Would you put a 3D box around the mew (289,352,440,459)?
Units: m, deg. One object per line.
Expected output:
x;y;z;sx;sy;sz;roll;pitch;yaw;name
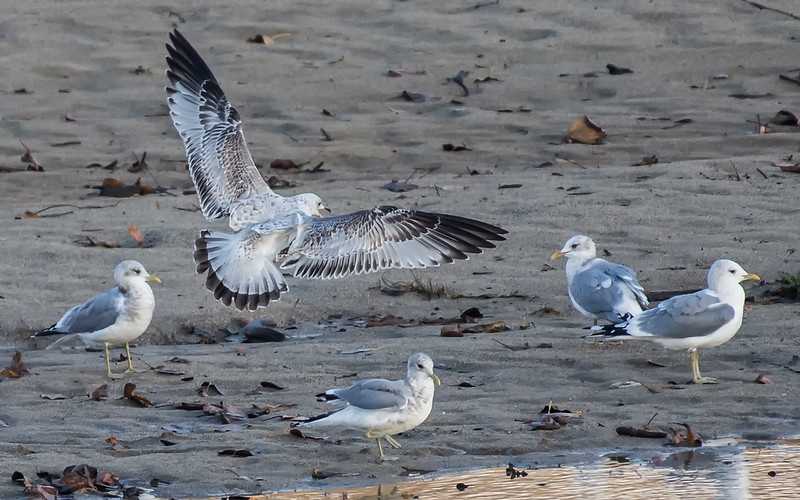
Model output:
-0.350;1.701;15.669;1.886;0.877;0.766;-4;-2;19;mew
